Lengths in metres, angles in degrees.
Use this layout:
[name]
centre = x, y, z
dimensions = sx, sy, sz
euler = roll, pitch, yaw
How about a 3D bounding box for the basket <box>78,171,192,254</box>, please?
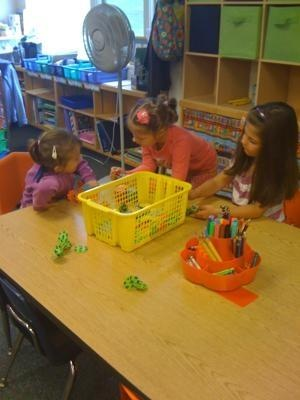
[basket]
centre = -0.043, 0.033, 1.116
dimensions = 0.278, 0.164, 0.392
euler = 18, 29, 38
